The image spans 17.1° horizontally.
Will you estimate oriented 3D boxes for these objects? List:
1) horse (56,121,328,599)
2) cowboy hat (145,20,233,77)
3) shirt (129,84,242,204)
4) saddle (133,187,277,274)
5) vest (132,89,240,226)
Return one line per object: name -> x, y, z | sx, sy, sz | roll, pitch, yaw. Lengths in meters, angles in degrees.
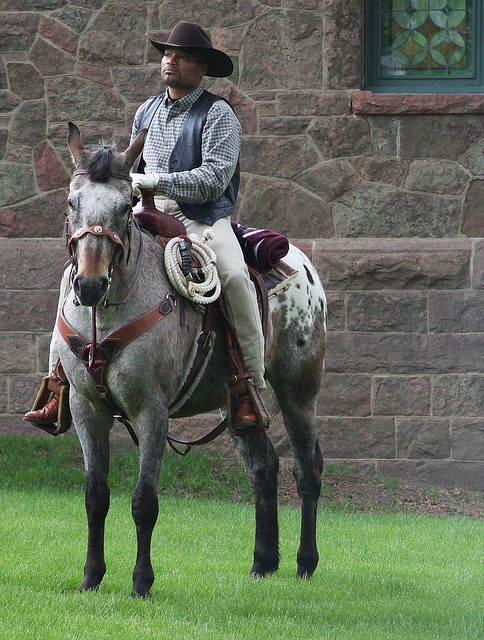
horse -> -0.359, 0.153, 9.855 | 1.630, 3.232, 1.336 | 0, 1, 14
cowboy hat -> -0.329, -1.761, 10.197 | 0.602, 0.211, 0.626 | 1, -5, 7
shirt -> -0.377, -1.134, 10.201 | 0.696, 0.740, 0.931 | -9, 20, -36
saddle -> -0.250, -0.554, 10.131 | 0.915, 0.603, 0.618 | 4, 16, 15
vest -> -0.369, -1.061, 10.255 | 0.700, 0.876, 0.647 | 0, 21, -8
